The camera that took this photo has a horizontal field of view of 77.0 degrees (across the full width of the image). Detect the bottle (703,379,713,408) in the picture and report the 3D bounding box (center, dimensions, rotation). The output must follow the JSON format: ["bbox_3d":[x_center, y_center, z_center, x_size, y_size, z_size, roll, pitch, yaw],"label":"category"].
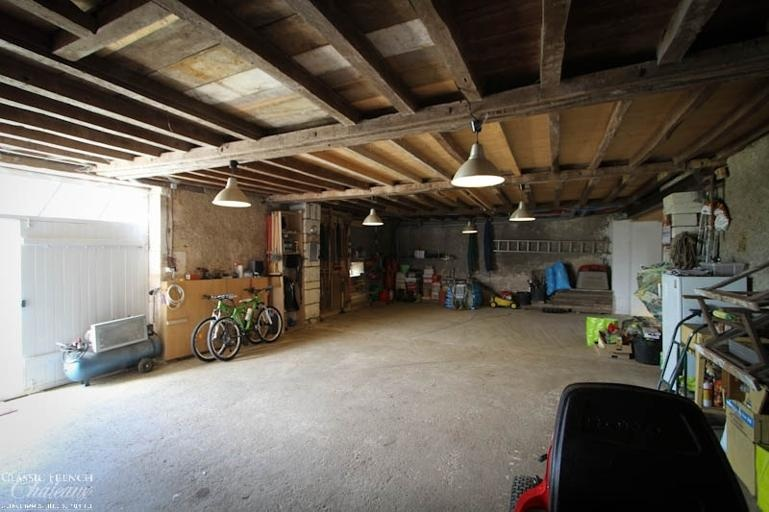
[{"bbox_3d":[3.523,1.479,5.248,0.107,0.309,0.072,2,7,26],"label":"bottle"}]

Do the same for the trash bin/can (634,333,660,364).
[{"bbox_3d":[3.715,1.328,6.937,0.397,0.319,0.363,0,5,-12],"label":"trash bin/can"}]

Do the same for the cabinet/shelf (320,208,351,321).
[{"bbox_3d":[-1.097,0.060,11.457,0.464,2.337,1.190,2,7,22],"label":"cabinet/shelf"}]

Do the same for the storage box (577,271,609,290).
[{"bbox_3d":[4.903,0.557,11.356,0.630,0.398,0.431,1,6,18],"label":"storage box"}]

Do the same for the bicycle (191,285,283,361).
[{"bbox_3d":[-2.296,1.125,7.860,0.737,0.784,1.537,-12,-5,27],"label":"bicycle"}]

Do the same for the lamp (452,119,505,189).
[{"bbox_3d":[0.940,-1.066,4.853,0.570,0.514,0.573,3,15,16],"label":"lamp"}]

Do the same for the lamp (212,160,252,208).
[{"bbox_3d":[-1.898,-0.927,6.096,0.548,0.504,0.576,13,18,31],"label":"lamp"}]
